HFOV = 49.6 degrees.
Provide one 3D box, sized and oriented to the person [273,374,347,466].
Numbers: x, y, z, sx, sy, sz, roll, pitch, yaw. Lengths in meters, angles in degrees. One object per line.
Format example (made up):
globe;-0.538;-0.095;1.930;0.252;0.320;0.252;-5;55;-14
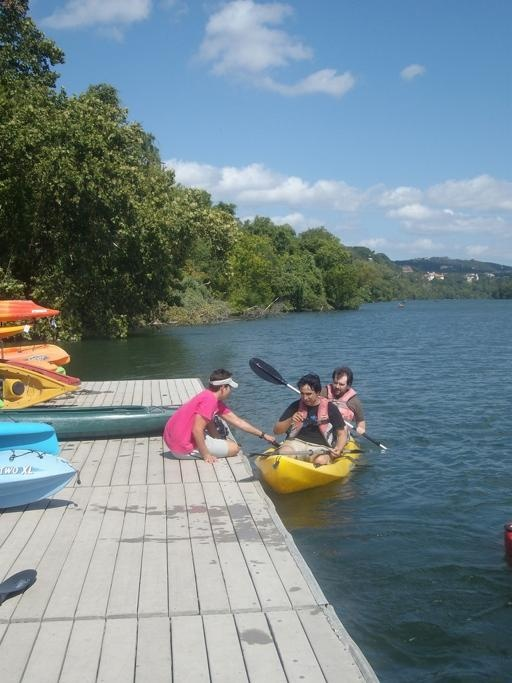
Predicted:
person;0.684;1.018;7.093;0.942;1.052;1.015;-2;6;-15

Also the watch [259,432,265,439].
watch;0.082;1.175;6.954;0.058;0.070;0.082;11;-27;0

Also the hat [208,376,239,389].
hat;-0.390;0.502;6.796;0.258;0.085;0.153;2;2;-12

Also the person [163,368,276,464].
person;-0.611;0.936;7.123;1.109;1.206;0.942;3;3;-8
